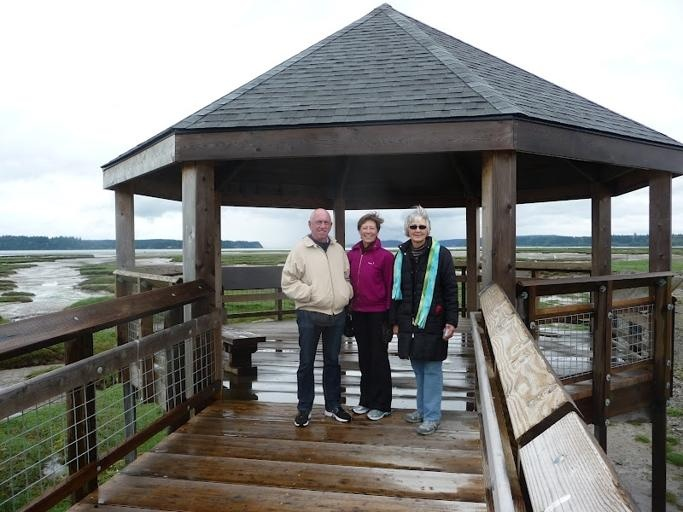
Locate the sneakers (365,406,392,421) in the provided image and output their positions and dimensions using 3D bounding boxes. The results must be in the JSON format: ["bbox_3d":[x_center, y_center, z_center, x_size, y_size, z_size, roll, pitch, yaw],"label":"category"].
[{"bbox_3d":[0.358,1.504,4.494,0.203,0.094,0.093,7,-7,-26],"label":"sneakers"}]

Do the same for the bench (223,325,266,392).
[{"bbox_3d":[-1.208,1.192,6.071,0.186,0.349,0.711,16,-1,6],"label":"bench"}]

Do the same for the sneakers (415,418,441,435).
[{"bbox_3d":[0.752,1.521,4.216,0.093,0.094,0.238,-6,-13,37],"label":"sneakers"}]

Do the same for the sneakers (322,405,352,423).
[{"bbox_3d":[-0.033,1.498,4.498,0.239,0.096,0.116,-2,-1,44],"label":"sneakers"}]

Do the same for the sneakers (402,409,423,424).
[{"bbox_3d":[0.669,1.505,4.444,0.170,0.082,0.082,4,-1,7],"label":"sneakers"}]

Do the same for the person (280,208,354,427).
[{"bbox_3d":[-0.217,0.560,4.458,0.650,1.989,0.404,-2,5,-8],"label":"person"}]

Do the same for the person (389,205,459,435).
[{"bbox_3d":[0.736,0.568,4.242,0.568,2.000,0.343,-1,5,8],"label":"person"}]

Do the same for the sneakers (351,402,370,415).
[{"bbox_3d":[0.171,1.502,4.653,0.146,0.058,0.083,10,-8,-15],"label":"sneakers"}]

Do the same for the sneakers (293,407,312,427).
[{"bbox_3d":[-0.361,1.507,4.411,0.117,0.109,0.272,0,-12,1],"label":"sneakers"}]
